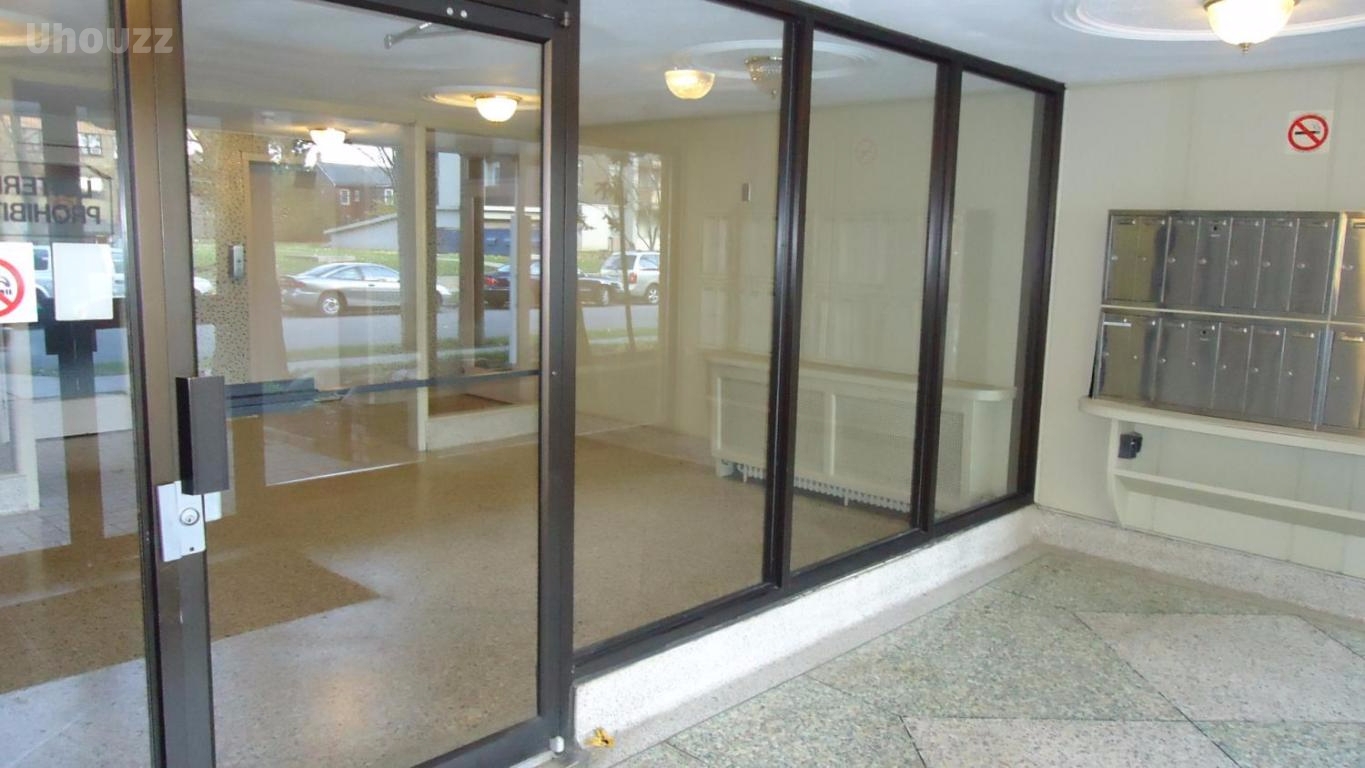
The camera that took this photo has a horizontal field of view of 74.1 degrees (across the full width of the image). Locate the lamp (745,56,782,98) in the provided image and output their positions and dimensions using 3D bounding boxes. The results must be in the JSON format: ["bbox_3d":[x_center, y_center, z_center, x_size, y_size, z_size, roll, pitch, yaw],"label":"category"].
[{"bbox_3d":[0.386,-1.510,4.409,0.214,0.133,0.184,-1,1,-5],"label":"lamp"}]

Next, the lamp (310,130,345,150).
[{"bbox_3d":[-1.328,-0.902,3.360,0.094,0.052,0.089,1,6,14],"label":"lamp"}]

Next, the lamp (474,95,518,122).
[{"bbox_3d":[-0.772,-1.125,3.698,0.136,0.072,0.126,-3,8,-19],"label":"lamp"}]

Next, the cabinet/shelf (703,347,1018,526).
[{"bbox_3d":[0.933,0.288,5.027,1.178,0.547,0.265,12,23,33],"label":"cabinet/shelf"}]
